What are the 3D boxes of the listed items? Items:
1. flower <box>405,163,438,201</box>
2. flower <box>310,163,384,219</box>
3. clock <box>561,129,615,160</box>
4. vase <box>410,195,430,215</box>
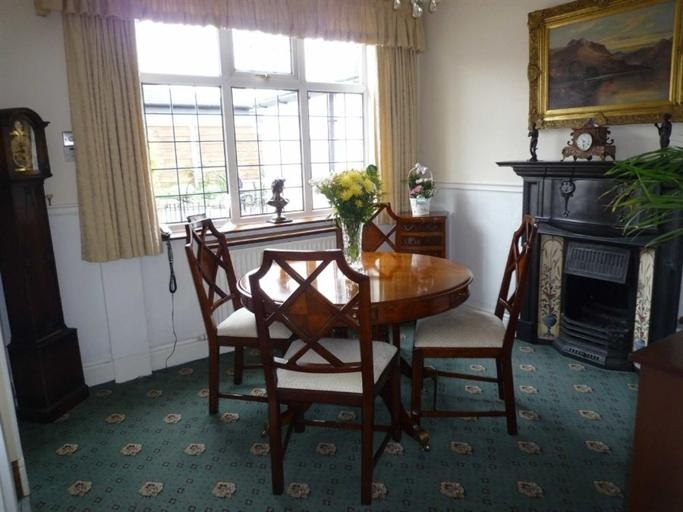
[{"bbox_3d":[0.801,-0.734,5.157,0.311,0.546,0.311,5,14,29],"label":"flower"},{"bbox_3d":[0.052,-0.436,3.455,0.324,0.363,0.387,2,12,24],"label":"flower"},{"bbox_3d":[1.964,-0.881,4.053,0.199,0.253,0.336,-5,10,-38],"label":"clock"},{"bbox_3d":[0.776,-0.490,4.989,0.159,0.133,0.165,-3,5,-27],"label":"vase"}]
